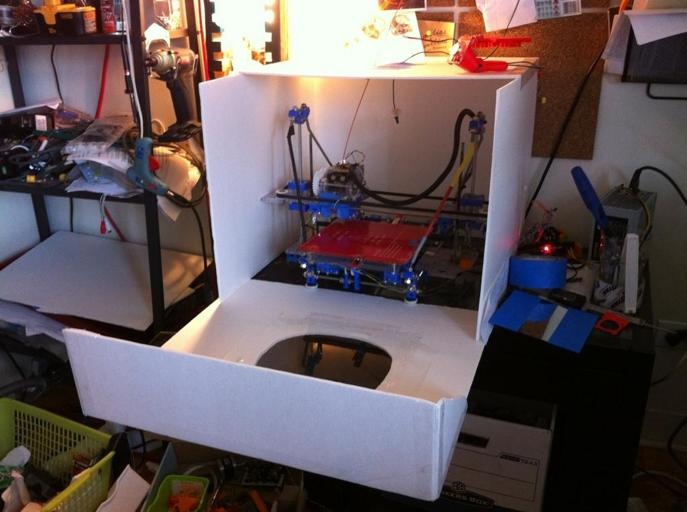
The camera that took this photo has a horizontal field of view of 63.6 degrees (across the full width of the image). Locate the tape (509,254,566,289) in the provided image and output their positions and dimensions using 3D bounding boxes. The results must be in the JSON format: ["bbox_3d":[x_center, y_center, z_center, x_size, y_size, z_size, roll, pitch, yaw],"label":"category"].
[{"bbox_3d":[0.641,0.045,1.842,0.177,0.096,0.185,2,7,12],"label":"tape"}]

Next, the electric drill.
[{"bbox_3d":[-0.658,-0.624,2.147,0.152,0.339,0.273,12,27,9],"label":"electric drill"}]
